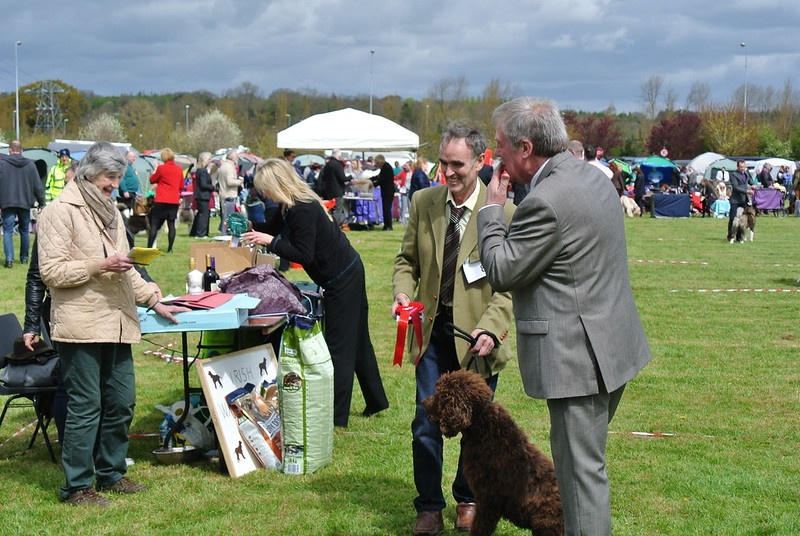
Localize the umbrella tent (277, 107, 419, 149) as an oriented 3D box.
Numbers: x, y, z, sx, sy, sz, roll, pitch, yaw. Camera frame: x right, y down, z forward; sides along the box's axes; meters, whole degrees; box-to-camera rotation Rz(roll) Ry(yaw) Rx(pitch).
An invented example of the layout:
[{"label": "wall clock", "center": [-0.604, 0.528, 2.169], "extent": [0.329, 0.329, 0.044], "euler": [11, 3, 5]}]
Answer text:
[{"label": "umbrella tent", "center": [-1.276, -3.407, 28.312], "extent": [3.259, 0.965, 1.536], "euler": [-2, 7, -7]}]

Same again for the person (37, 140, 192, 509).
[{"label": "person", "center": [-3.150, 0.547, 12.468], "extent": [1.059, 3.877, 1.298], "euler": [2, 3, 28]}]

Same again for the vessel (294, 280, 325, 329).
[{"label": "vessel", "center": [-1.049, 0.427, 13.369], "extent": [0.256, 0.538, 0.333], "euler": [-14, 26, -20]}]

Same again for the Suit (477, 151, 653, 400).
[{"label": "Suit", "center": [1.531, 0.042, 10.819], "extent": [1.382, 2.257, 0.407], "euler": [0, 6, 8]}]

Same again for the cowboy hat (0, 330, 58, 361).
[{"label": "cowboy hat", "center": [-4.210, 0.949, 13.062], "extent": [0.376, 0.172, 0.369], "euler": [-14, 7, 7]}]

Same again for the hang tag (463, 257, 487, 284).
[{"label": "hang tag", "center": [0.759, 0.003, 11.647], "extent": [0.176, 0.204, 0.034], "euler": [-22, -3, -5]}]

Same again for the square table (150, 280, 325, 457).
[{"label": "square table", "center": [-2.294, 1.412, 13.847], "extent": [1.484, 1.640, 1.592], "euler": [1, 5, -22]}]

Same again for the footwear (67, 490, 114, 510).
[{"label": "footwear", "center": [-3.340, 2.451, 12.287], "extent": [0.324, 0.170, 0.220], "euler": [-2, -1, 0]}]

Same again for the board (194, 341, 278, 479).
[{"label": "board", "center": [-1.705, 1.595, 12.976], "extent": [0.837, 1.640, 0.129], "euler": [-6, -35, -23]}]

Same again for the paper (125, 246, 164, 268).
[{"label": "paper", "center": [-2.671, -0.144, 12.063], "extent": [0.221, 0.067, 0.218], "euler": [5, -33, -41]}]

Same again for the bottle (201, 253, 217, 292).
[{"label": "bottle", "center": [-2.319, 0.073, 14.017], "extent": [0.146, 0.492, 0.158], "euler": [1, 17, 0]}]

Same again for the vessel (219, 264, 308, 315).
[{"label": "vessel", "center": [-1.506, 0.259, 13.154], "extent": [0.582, 0.270, 0.680], "euler": [8, 5, 14]}]

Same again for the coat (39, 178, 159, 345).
[{"label": "coat", "center": [-3.260, -0.131, 12.517], "extent": [0.943, 1.852, 1.282], "euler": [-2, 0, 33]}]
